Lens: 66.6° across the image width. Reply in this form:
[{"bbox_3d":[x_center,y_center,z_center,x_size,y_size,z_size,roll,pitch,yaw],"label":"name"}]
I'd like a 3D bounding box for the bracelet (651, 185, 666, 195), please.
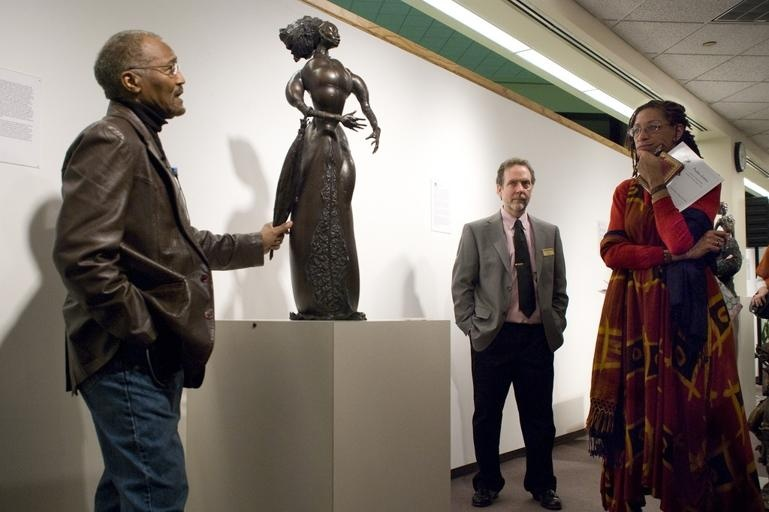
[{"bbox_3d":[1.364,-0.337,2.926,0.058,0.044,0.063,15,-7,-20],"label":"bracelet"}]

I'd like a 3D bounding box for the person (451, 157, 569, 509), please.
[{"bbox_3d":[0.868,0.474,4.038,0.771,2.369,0.467,-1,-4,14],"label":"person"}]

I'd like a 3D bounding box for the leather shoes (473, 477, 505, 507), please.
[{"bbox_3d":[0.669,1.581,3.851,0.104,0.112,0.256,-5,-19,22],"label":"leather shoes"}]

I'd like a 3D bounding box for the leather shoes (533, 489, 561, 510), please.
[{"bbox_3d":[1.062,1.611,3.836,0.077,0.088,0.198,2,-13,-17],"label":"leather shoes"}]

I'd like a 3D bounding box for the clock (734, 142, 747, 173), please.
[{"bbox_3d":[4.826,-1.363,7.985,0.061,0.339,0.369,-11,16,32],"label":"clock"}]
